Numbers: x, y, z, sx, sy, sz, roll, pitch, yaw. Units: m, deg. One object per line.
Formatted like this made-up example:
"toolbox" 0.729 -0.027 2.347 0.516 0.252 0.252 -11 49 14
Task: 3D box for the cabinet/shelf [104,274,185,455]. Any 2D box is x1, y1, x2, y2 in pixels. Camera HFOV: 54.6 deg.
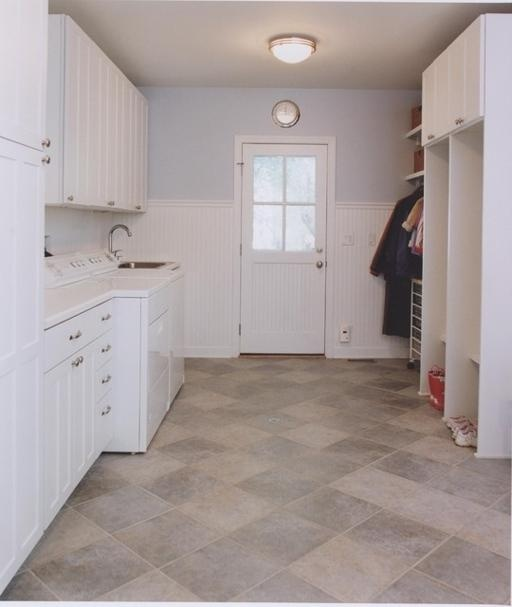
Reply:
"cabinet/shelf" -0.589 0.330 2.578 0.248 0.573 0.833 -1 5 -2

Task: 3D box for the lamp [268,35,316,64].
"lamp" 0.252 -1.730 3.363 0.328 0.102 0.239 2 7 2

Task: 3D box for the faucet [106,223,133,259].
"faucet" -1.186 -0.545 4.324 0.205 0.317 0.674 0 7 -15
